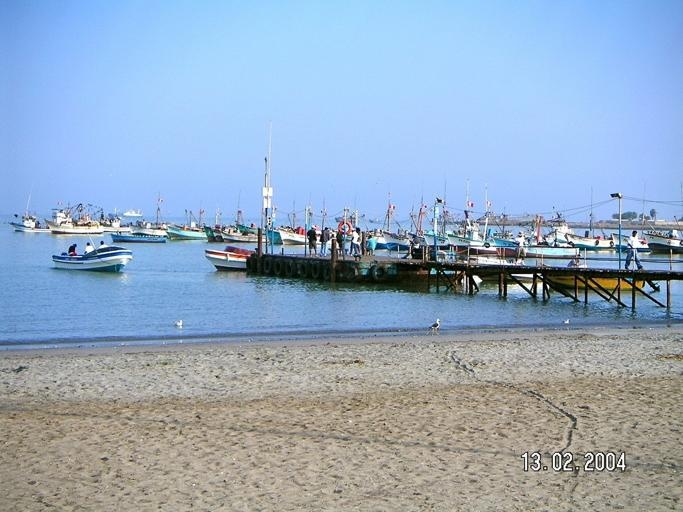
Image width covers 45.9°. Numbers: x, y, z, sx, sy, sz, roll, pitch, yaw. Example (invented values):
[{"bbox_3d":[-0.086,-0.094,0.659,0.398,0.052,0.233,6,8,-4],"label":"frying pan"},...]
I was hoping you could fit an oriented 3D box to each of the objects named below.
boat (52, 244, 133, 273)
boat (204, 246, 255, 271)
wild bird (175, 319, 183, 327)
[{"bbox_3d":[-16.059,0.032,51.333,6.094,1.810,2.046,6,11,34],"label":"boat"},{"bbox_3d":[-7.517,0.110,52.736,2.677,1.005,1.544,-1,5,-3],"label":"boat"},{"bbox_3d":[-5.457,2.258,27.211,0.304,0.298,0.420,4,-11,-22],"label":"wild bird"}]
